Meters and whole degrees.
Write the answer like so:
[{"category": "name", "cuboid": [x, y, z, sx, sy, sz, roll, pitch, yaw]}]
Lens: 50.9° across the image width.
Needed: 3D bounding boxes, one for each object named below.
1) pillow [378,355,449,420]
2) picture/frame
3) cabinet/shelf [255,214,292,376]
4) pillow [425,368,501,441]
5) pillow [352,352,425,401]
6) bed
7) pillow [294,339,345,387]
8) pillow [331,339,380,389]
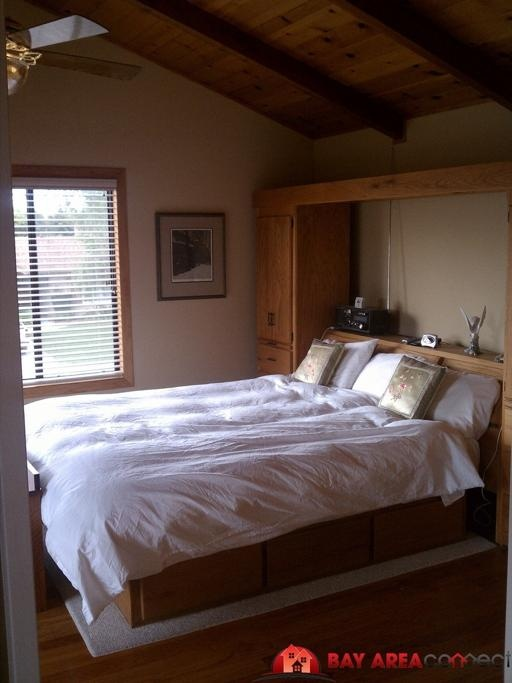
[{"category": "pillow", "cuboid": [0.937, 0.279, 3.200, 0.095, 0.331, 0.354, 26, -4, -31]}, {"category": "picture/frame", "cuboid": [-0.599, -0.770, 4.652, 0.767, 0.892, 0.058, -3, 6, -30]}, {"category": "cabinet/shelf", "cuboid": [0.157, -0.670, 4.674, 0.316, 0.849, 0.098, 9, 25, 22]}, {"category": "pillow", "cuboid": [1.174, 0.341, 3.011, 0.098, 0.353, 0.350, 29, -1, -24]}, {"category": "pillow", "cuboid": [0.852, 0.212, 3.673, 0.075, 0.311, 0.290, 29, -19, -3]}, {"category": "bed", "cuboid": [-0.028, 0.592, 2.630, 1.672, 0.605, 1.441, -3, 10, -24]}, {"category": "pillow", "cuboid": [0.482, 0.145, 3.978, 0.099, 0.330, 0.325, 32, -4, -25]}, {"category": "pillow", "cuboid": [0.702, 0.146, 3.921, 0.098, 0.336, 0.359, 34, -14, -29]}]
